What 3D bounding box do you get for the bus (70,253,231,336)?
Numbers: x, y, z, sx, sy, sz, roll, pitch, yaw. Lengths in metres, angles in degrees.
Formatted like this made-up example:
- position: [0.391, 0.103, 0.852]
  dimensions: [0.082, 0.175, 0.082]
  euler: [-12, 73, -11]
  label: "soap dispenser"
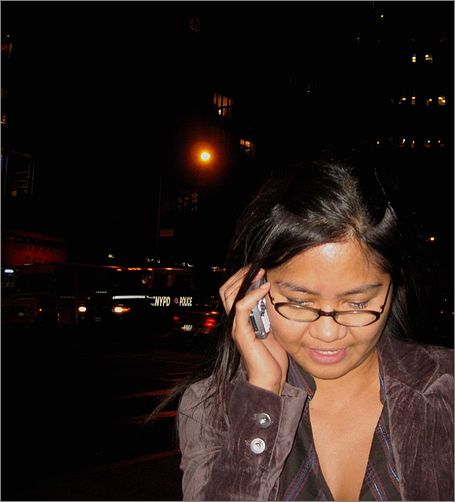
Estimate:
- position: [-2.594, 1.278, 13.754]
  dimensions: [4.178, 2.312, 2.409]
  euler: [0, -2, -22]
  label: "bus"
